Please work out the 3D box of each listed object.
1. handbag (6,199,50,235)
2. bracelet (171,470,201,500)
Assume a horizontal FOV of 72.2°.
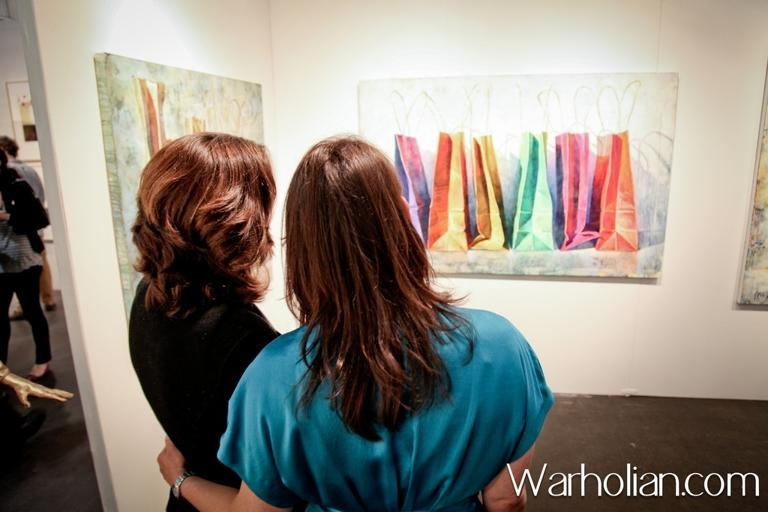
[{"bbox_3d":[-1.543,-0.169,2.271,0.064,0.137,0.136,1,11,33],"label":"handbag"},{"bbox_3d":[-0.816,0.923,2.135,0.106,0.116,0.068,31,-16,-31],"label":"bracelet"}]
